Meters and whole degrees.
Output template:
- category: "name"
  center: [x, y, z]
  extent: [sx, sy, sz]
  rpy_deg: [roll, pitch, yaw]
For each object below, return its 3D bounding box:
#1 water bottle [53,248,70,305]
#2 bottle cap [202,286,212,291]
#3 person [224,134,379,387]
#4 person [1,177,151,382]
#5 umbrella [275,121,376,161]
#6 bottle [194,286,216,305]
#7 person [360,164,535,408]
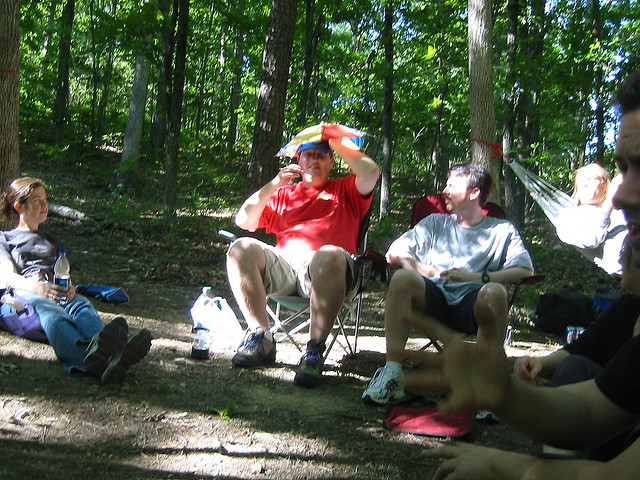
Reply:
- category: "water bottle"
  center: [-1.696, 0.192, 4.206]
  extent: [0.091, 0.219, 0.369]
  rpy_deg: [3, 10, -24]
- category: "bottle cap"
  center: [-0.947, 0.404, 5.355]
  extent: [0.095, 0.026, 0.092]
  rpy_deg: [-1, -3, 31]
- category: "person"
  center: [-0.154, 0.063, 4.526]
  extent: [0.993, 1.665, 1.148]
  rpy_deg: [8, 9, 5]
- category: "person"
  center: [-1.628, 0.190, 3.971]
  extent: [1.441, 0.975, 0.433]
  rpy_deg: [14, 11, 37]
- category: "umbrella"
  center: [0.037, -0.718, 4.552]
  extent: [0.456, 0.141, 0.397]
  rpy_deg: [-14, -2, -40]
- category: "bottle"
  center: [-0.907, 0.418, 5.027]
  extent: [0.112, 0.208, 0.070]
  rpy_deg: [15, -10, 11]
- category: "person"
  center: [0.842, 0.235, 4.139]
  extent: [1.026, 1.697, 1.302]
  rpy_deg: [2, -8, 31]
